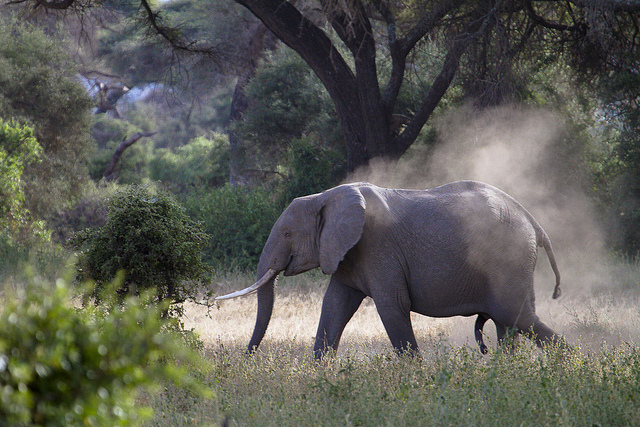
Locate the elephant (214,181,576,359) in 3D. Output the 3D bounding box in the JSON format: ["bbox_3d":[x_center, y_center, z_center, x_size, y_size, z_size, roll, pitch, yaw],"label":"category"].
[{"bbox_3d":[2.073,1.459,24.853,6.851,4.960,2.973,-1,8,8],"label":"elephant"}]
